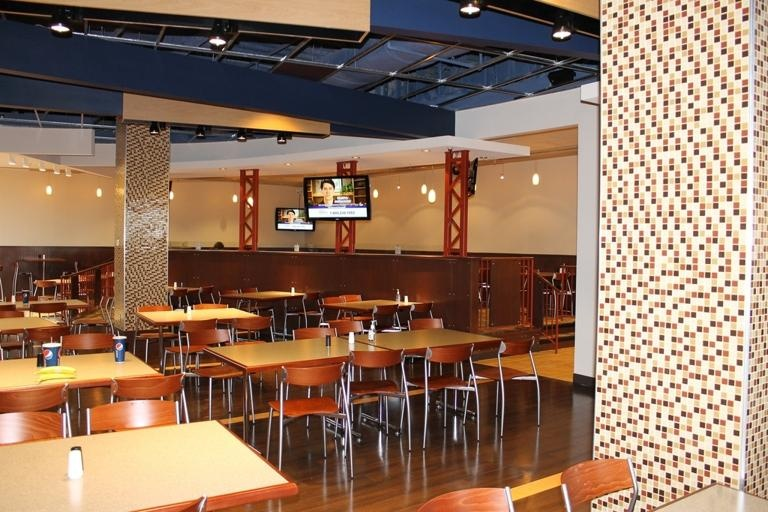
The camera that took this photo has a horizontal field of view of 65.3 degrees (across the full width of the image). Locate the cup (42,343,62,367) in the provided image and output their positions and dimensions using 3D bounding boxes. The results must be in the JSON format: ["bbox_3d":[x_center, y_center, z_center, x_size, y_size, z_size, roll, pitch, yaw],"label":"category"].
[{"bbox_3d":[-2.976,0.877,5.367,0.122,0.219,0.180,-3,1,-35],"label":"cup"}]

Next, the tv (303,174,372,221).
[{"bbox_3d":[-1.000,-1.155,11.859,1.621,0.902,0.150,-6,9,-37],"label":"tv"}]

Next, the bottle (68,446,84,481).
[{"bbox_3d":[-1.923,1.274,3.730,0.091,0.202,0.180,-3,1,-28],"label":"bottle"}]

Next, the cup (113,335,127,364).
[{"bbox_3d":[-2.558,0.891,5.793,0.108,0.248,0.243,-3,1,-24],"label":"cup"}]
